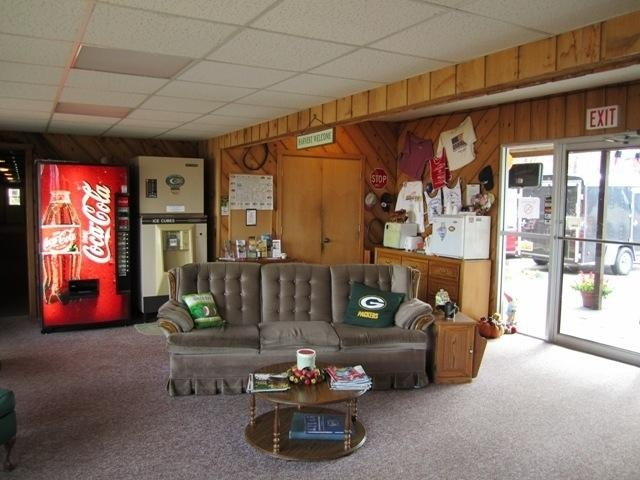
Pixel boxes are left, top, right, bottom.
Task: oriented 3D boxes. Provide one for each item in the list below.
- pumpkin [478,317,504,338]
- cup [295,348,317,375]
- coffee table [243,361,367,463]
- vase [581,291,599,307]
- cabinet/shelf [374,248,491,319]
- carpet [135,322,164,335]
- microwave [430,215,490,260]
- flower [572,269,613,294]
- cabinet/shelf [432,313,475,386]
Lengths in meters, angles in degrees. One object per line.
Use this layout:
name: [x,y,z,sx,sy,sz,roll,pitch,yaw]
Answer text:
pumpkin: [2.315,1.131,6.336,0.345,0.316,0.338,2,6,22]
cup: [-0.126,1.015,3.866,0.190,0.164,0.172,1,-3,-5]
coffee table: [-0.216,1.437,3.781,0.925,0.352,0.898,7,-6,-23]
vase: [3.387,0.750,5.817,0.177,0.129,0.175,5,-6,-44]
cabinet/shelf: [1.246,0.683,6.795,1.632,0.908,0.532,11,-13,-23]
carpet: [-2.322,1.214,6.284,0.323,0.015,0.487,3,2,-25]
microwave: [1.981,-0.039,6.686,0.623,0.674,0.831,0,3,-26]
flower: [3.350,0.518,5.689,0.296,0.161,0.270,1,6,5]
cabinet/shelf: [1.353,1.184,5.056,0.494,0.681,0.613,3,-2,-17]
